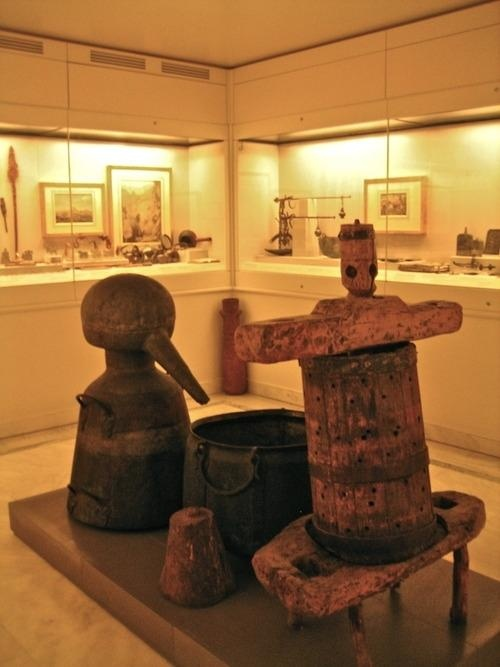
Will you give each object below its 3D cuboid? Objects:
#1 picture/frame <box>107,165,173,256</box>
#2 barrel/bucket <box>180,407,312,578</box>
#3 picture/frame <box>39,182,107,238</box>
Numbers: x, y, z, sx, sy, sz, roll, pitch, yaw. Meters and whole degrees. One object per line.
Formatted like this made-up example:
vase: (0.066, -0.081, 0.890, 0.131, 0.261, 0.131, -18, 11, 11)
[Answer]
picture/frame: (-1.234, -1.353, 5.918, 0.077, 1.089, 0.925, 10, 14, 42)
barrel/bucket: (0.005, 0.583, 2.209, 0.518, 0.404, 0.531, -1, 4, 0)
picture/frame: (-1.763, -1.215, 5.293, 0.022, 0.419, 0.566, 7, 12, 36)
